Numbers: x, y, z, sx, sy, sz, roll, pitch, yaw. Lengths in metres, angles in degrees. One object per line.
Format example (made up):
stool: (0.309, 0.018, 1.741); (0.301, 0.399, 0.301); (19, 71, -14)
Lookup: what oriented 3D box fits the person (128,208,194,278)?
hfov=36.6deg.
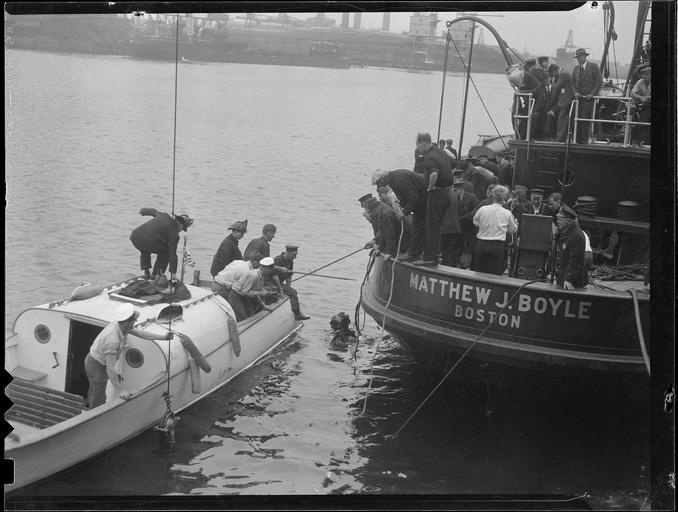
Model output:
person: (-2.710, -0.067, 15.243); (0.813, 0.859, 0.607); (-24, -35, 5)

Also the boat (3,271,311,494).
boat: (-2.616, 1.289, 14.103); (1.549, 1.468, 4.814); (14, 24, 33)

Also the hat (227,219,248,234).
hat: (-1.584, -0.445, 15.221); (0.404, 0.237, 0.294); (-1, 6, 10)

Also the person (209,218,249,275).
person: (-1.969, -0.173, 18.287); (0.560, 0.490, 1.267); (3, -35, -14)

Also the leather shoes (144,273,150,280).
leather shoes: (-2.878, 0.291, 15.327); (0.100, 0.115, 0.101); (1, 3, -27)

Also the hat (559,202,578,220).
hat: (2.950, -0.562, 13.082); (0.239, 0.105, 0.194); (25, 14, -4)

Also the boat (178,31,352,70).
boat: (-1.658, -4.413, 22.210); (3.273, 0.733, 9.919); (3, 12, -6)

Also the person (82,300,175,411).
person: (-2.919, 1.272, 13.089); (0.643, 1.331, 0.417); (1, 12, -15)

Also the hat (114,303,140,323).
hat: (-2.699, 0.710, 13.179); (0.223, 0.243, 0.588); (5, 12, 5)

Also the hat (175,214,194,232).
hat: (-2.324, -0.492, 15.240); (0.222, 0.283, 0.513); (2, 13, -10)

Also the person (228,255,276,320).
person: (-1.316, 0.457, 15.087); (0.469, 0.380, 0.874); (-1, -28, -21)

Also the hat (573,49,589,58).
hat: (3.473, -2.935, 14.680); (0.174, 0.078, 0.202); (-1, 1, -2)

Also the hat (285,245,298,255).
hat: (-0.736, -0.109, 15.938); (0.198, 0.134, 0.203); (7, 2, 10)
